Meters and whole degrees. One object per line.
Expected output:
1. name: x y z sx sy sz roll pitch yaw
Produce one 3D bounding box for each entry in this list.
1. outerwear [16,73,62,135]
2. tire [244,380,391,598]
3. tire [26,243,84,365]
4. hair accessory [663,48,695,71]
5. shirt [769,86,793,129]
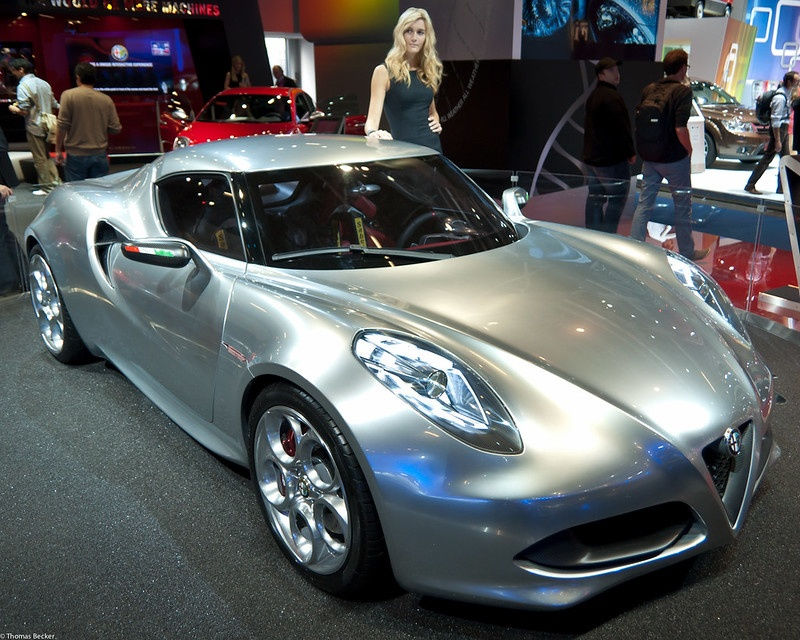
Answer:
1. outerwear: -6.125 -3.631 8.430 0.558 0.991 0.381 -17 25 -41
2. tire: -0.269 0.574 1.692 0.194 0.589 0.586 -21 -11 -33
3. tire: -2.255 -0.108 3.285 0.249 0.714 0.683 -12 16 -33
4. hair accessory: 3.235 -3.033 5.824 0.250 0.329 0.335 1 23 27
5. shirt: 7.110 -4.006 9.387 0.417 0.708 0.287 -17 25 -41
